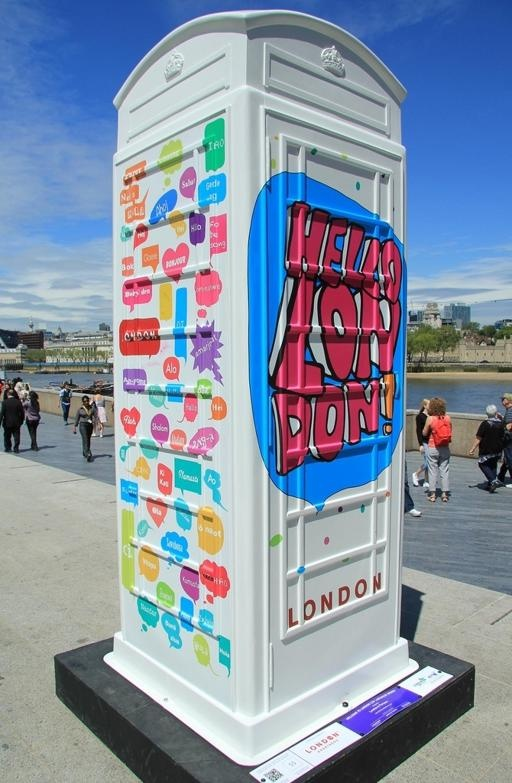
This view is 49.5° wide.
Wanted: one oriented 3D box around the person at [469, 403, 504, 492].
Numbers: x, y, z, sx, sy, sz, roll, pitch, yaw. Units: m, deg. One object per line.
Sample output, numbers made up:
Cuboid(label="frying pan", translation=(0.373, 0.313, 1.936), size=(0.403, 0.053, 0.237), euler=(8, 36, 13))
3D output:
Cuboid(label="person", translation=(4.665, 1.098, 11.121), size=(0.584, 1.636, 1.659), euler=(-1, -1, 21))

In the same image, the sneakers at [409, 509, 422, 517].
Cuboid(label="sneakers", translation=(2.515, 1.929, 8.748), size=(0.101, 0.086, 0.181), euler=(-2, -2, -16))

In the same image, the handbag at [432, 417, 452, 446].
Cuboid(label="handbag", translation=(3.186, 0.719, 9.587), size=(0.293, 0.550, 0.371), euler=(-1, -1, 18))

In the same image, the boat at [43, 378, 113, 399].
Cuboid(label="boat", translation=(-16.626, -0.421, 50.970), size=(5.601, 1.715, 1.990), euler=(-1, 15, 5))
